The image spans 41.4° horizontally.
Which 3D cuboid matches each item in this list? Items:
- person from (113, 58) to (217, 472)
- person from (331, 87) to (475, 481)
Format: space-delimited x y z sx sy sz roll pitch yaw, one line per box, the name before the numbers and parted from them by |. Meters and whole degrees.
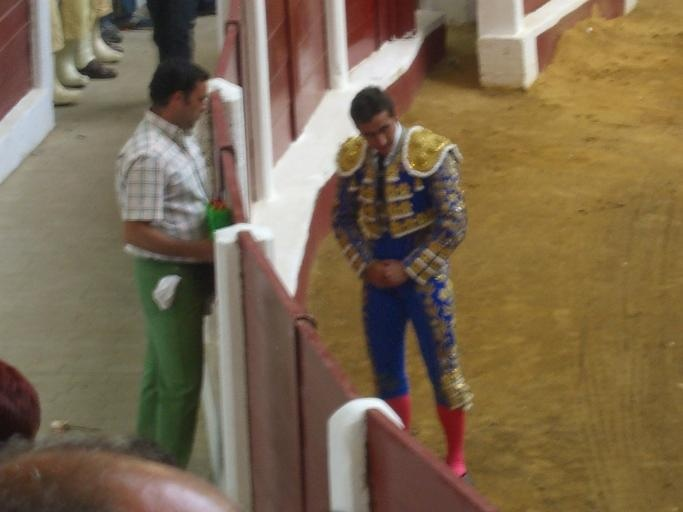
person | -0.768 0.071 4.039 0.471 1.753 0.503 -6 24 -9
person | 0.281 0.171 4.214 0.675 1.914 0.470 3 24 12
